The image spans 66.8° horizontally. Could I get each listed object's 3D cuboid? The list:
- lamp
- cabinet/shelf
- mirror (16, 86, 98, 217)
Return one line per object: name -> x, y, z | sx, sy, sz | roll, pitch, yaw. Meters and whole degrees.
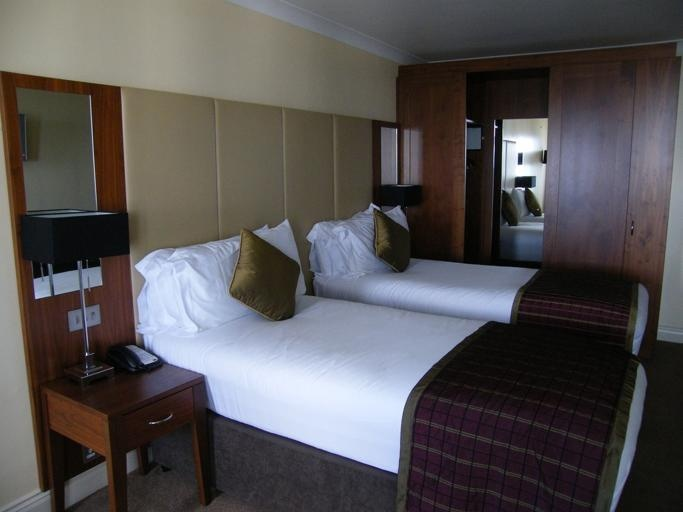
lamp -> -1.410, 0.199, 2.862 | 0.349, 0.917, 0.468 | 5, 13, 36
cabinet/shelf -> 1.806, -0.576, 4.625 | 2.416, 2.481, 0.720 | 9, 12, 41
mirror -> -1.534, -0.567, 2.817 | 0.072, 0.646, 0.392 | 6, 14, 38
